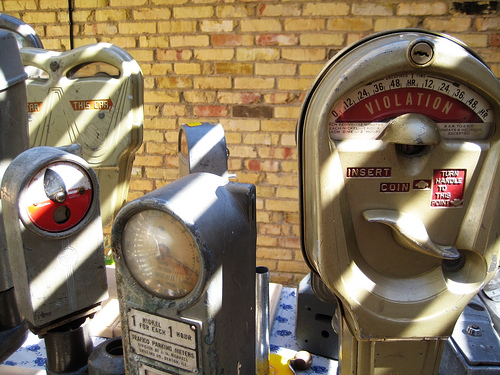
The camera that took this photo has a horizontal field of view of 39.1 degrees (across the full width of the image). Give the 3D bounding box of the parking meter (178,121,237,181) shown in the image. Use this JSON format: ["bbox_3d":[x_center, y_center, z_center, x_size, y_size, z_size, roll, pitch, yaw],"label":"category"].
[{"bbox_3d":[-0.144,-0.180,2.657,0.154,0.268,0.231,3,37,8],"label":"parking meter"}]
